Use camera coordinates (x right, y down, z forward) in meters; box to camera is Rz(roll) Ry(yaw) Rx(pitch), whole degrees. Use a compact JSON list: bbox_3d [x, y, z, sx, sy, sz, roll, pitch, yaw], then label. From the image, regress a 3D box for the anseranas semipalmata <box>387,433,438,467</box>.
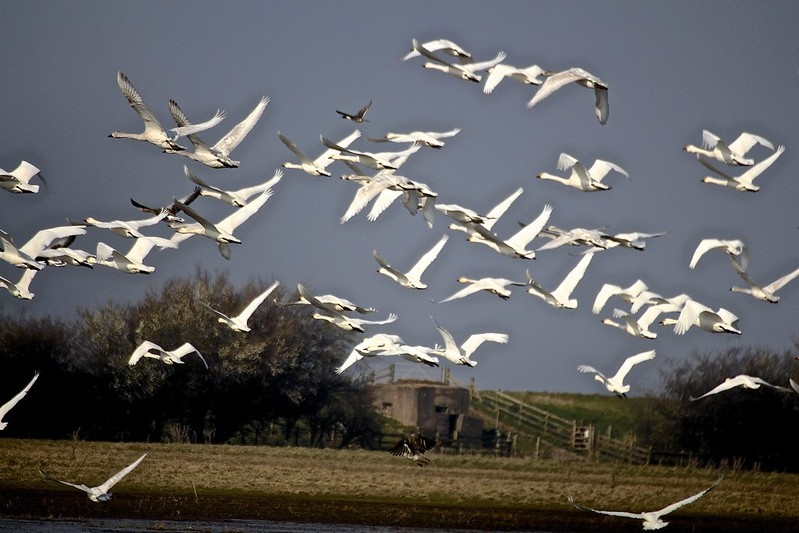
[{"bbox_3d":[0.768,8.800,61.277,1.848,1.467,2.397,5,3,19],"label":"anseranas semipalmata"}]
